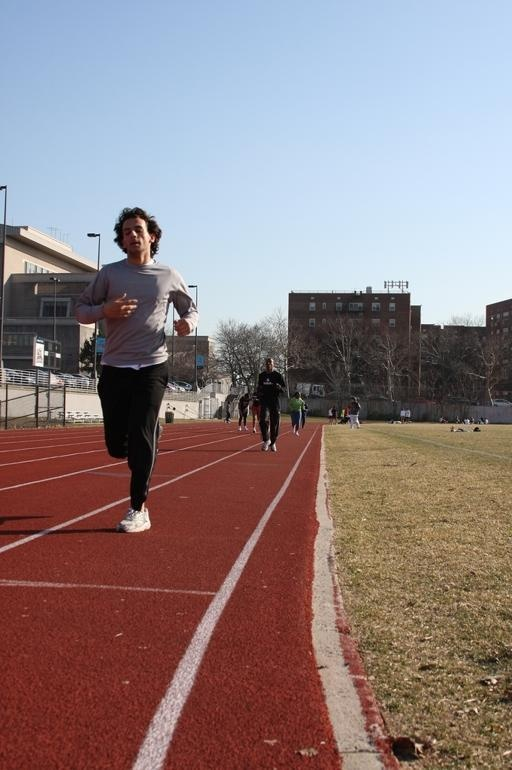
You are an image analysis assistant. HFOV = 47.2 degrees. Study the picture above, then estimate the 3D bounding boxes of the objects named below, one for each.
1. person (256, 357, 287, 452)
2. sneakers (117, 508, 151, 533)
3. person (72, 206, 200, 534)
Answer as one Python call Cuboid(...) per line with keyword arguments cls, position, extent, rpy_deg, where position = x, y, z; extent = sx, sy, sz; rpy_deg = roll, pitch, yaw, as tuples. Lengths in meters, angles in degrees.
Cuboid(cls="person", position=(0.315, 0.472, 13.608), extent=(0.681, 2.077, 0.529), rpy_deg=(-6, -13, 31))
Cuboid(cls="sneakers", position=(-0.936, 1.056, 4.567), extent=(0.099, 0.154, 0.274), rpy_deg=(-3, -10, 20))
Cuboid(cls="person", position=(-0.884, -0.101, 4.371), extent=(0.845, 2.509, 0.683), rpy_deg=(-1, 1, -20))
